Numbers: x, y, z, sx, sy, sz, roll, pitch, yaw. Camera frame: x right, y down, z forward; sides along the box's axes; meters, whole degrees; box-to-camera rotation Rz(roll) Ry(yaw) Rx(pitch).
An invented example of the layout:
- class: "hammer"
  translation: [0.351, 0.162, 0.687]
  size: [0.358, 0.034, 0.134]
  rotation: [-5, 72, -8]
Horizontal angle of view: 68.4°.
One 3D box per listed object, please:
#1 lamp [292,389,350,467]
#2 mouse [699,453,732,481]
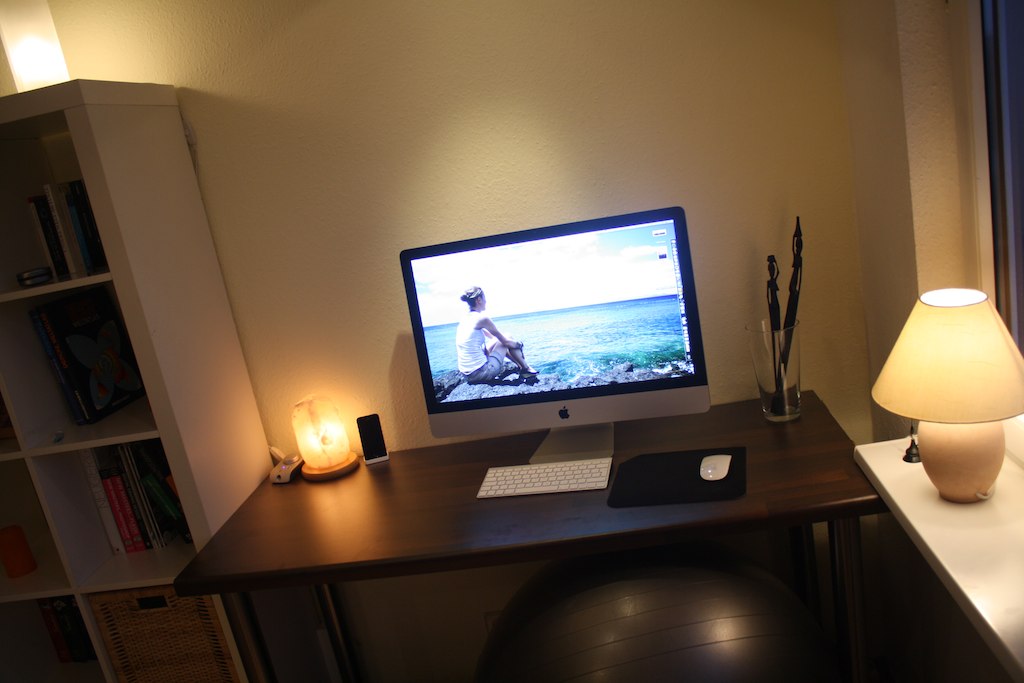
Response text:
- class: "lamp"
  translation: [-0.664, 0.303, 2.637]
  size: [0.174, 0.251, 0.159]
  rotation: [-20, 9, 1]
- class: "mouse"
  translation: [0.622, 0.377, 2.293]
  size: [0.064, 0.022, 0.087]
  rotation: [-3, 21, 24]
